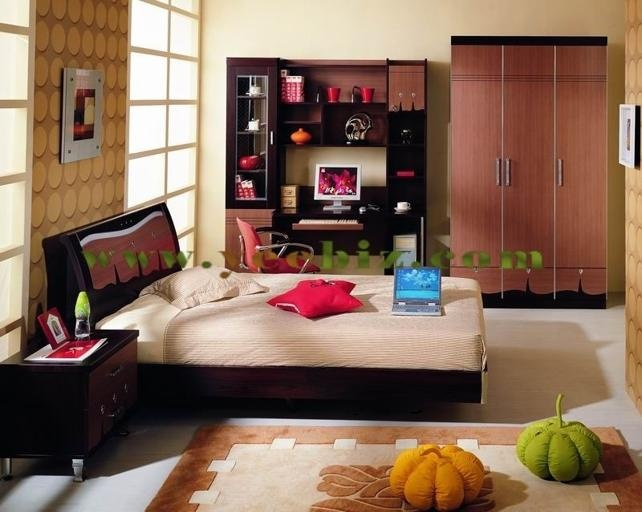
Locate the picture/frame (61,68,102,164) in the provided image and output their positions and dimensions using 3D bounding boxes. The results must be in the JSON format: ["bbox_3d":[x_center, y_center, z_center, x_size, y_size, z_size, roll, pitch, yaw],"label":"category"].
[{"bbox_3d":[-1.713,-0.977,3.452,0.621,0.590,0.055,12,10,39],"label":"picture/frame"}]

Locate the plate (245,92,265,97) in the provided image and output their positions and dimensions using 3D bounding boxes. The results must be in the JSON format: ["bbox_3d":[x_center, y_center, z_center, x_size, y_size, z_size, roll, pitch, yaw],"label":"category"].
[{"bbox_3d":[-0.818,-1.869,5.836,0.208,0.053,0.029,-1,4,-3],"label":"plate"}]

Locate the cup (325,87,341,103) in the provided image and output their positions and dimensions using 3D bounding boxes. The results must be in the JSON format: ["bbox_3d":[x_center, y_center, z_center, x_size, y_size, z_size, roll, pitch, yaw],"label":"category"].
[{"bbox_3d":[0.142,-1.910,6.029,0.204,0.195,0.194,-1,8,0],"label":"cup"}]

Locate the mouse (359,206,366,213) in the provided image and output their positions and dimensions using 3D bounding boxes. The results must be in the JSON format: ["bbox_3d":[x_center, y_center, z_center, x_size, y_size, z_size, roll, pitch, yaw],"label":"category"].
[{"bbox_3d":[0.489,-0.554,5.886,0.080,0.032,0.108,0,13,3],"label":"mouse"}]

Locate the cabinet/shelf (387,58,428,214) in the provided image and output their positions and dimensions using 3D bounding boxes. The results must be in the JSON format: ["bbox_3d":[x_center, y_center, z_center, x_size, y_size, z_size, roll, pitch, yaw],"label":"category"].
[{"bbox_3d":[1.048,-1.397,5.926,0.473,1.750,0.441,0,4,12],"label":"cabinet/shelf"}]

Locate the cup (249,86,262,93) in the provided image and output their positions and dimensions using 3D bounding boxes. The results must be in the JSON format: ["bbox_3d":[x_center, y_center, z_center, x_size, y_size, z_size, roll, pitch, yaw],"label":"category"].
[{"bbox_3d":[-0.826,-1.923,5.833,0.144,0.096,0.078,0,2,-1],"label":"cup"}]

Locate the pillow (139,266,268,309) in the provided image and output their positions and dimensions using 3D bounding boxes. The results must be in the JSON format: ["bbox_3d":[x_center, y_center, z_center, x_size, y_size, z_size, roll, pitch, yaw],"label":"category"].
[{"bbox_3d":[-0.898,0.214,3.666,0.505,0.118,0.436,-11,19,-33],"label":"pillow"}]

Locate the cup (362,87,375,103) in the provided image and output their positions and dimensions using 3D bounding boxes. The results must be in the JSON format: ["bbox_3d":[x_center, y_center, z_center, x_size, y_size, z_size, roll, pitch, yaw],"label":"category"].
[{"bbox_3d":[0.571,-1.916,5.971,0.166,0.153,0.197,0,6,2],"label":"cup"}]

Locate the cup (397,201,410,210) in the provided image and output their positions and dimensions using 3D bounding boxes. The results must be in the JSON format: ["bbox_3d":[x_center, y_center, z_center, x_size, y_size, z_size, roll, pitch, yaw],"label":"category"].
[{"bbox_3d":[1.001,-0.602,5.891,0.138,0.090,0.104,1,6,-2],"label":"cup"}]

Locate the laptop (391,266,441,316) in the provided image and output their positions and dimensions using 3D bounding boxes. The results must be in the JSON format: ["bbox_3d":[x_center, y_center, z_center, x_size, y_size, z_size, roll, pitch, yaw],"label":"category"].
[{"bbox_3d":[0.656,0.240,3.314,0.382,0.258,0.411,4,14,18],"label":"laptop"}]

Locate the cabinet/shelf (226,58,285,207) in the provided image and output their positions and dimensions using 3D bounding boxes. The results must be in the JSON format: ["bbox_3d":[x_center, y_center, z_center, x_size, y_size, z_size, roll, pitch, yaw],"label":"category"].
[{"bbox_3d":[-0.828,-1.416,6.034,0.648,1.726,0.456,2,7,5],"label":"cabinet/shelf"}]

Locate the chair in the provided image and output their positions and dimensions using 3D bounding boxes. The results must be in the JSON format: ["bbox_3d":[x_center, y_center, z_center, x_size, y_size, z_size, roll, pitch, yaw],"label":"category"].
[{"bbox_3d":[-0.496,-0.043,5.102,0.697,0.810,0.754,-2,6,-5],"label":"chair"}]

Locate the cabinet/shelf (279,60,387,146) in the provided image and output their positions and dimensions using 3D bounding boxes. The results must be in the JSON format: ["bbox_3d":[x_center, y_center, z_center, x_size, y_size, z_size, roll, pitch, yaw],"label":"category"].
[{"bbox_3d":[0.224,-1.807,6.020,1.437,1.068,0.454,13,19,21],"label":"cabinet/shelf"}]

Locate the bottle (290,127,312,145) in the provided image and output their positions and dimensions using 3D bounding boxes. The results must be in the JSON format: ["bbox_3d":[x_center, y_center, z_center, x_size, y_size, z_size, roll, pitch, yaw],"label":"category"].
[{"bbox_3d":[-0.279,-1.445,6.083,0.217,0.162,0.216,1,8,0],"label":"bottle"}]

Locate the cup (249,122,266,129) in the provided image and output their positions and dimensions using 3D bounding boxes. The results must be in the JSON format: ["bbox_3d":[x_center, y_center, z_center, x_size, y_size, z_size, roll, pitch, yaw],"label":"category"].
[{"bbox_3d":[-0.814,-1.528,5.878,0.169,0.068,0.097,1,5,0],"label":"cup"}]

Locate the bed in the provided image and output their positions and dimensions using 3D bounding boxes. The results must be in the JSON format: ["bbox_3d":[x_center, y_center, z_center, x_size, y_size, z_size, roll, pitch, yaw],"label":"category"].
[{"bbox_3d":[-0.405,0.429,3.433,2.099,0.873,1.605,-1,6,4],"label":"bed"}]

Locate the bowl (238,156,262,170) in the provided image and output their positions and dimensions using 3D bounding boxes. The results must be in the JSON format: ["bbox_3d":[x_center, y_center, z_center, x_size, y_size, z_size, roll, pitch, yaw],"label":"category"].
[{"bbox_3d":[-0.890,-1.101,5.888,0.189,0.106,0.196,-2,12,0],"label":"bowl"}]

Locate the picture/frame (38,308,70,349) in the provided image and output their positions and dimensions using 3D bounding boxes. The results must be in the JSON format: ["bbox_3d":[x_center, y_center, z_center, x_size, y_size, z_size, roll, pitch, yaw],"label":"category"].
[{"bbox_3d":[-1.558,0.398,2.766,0.022,0.211,0.220,-21,7,8],"label":"picture/frame"}]
